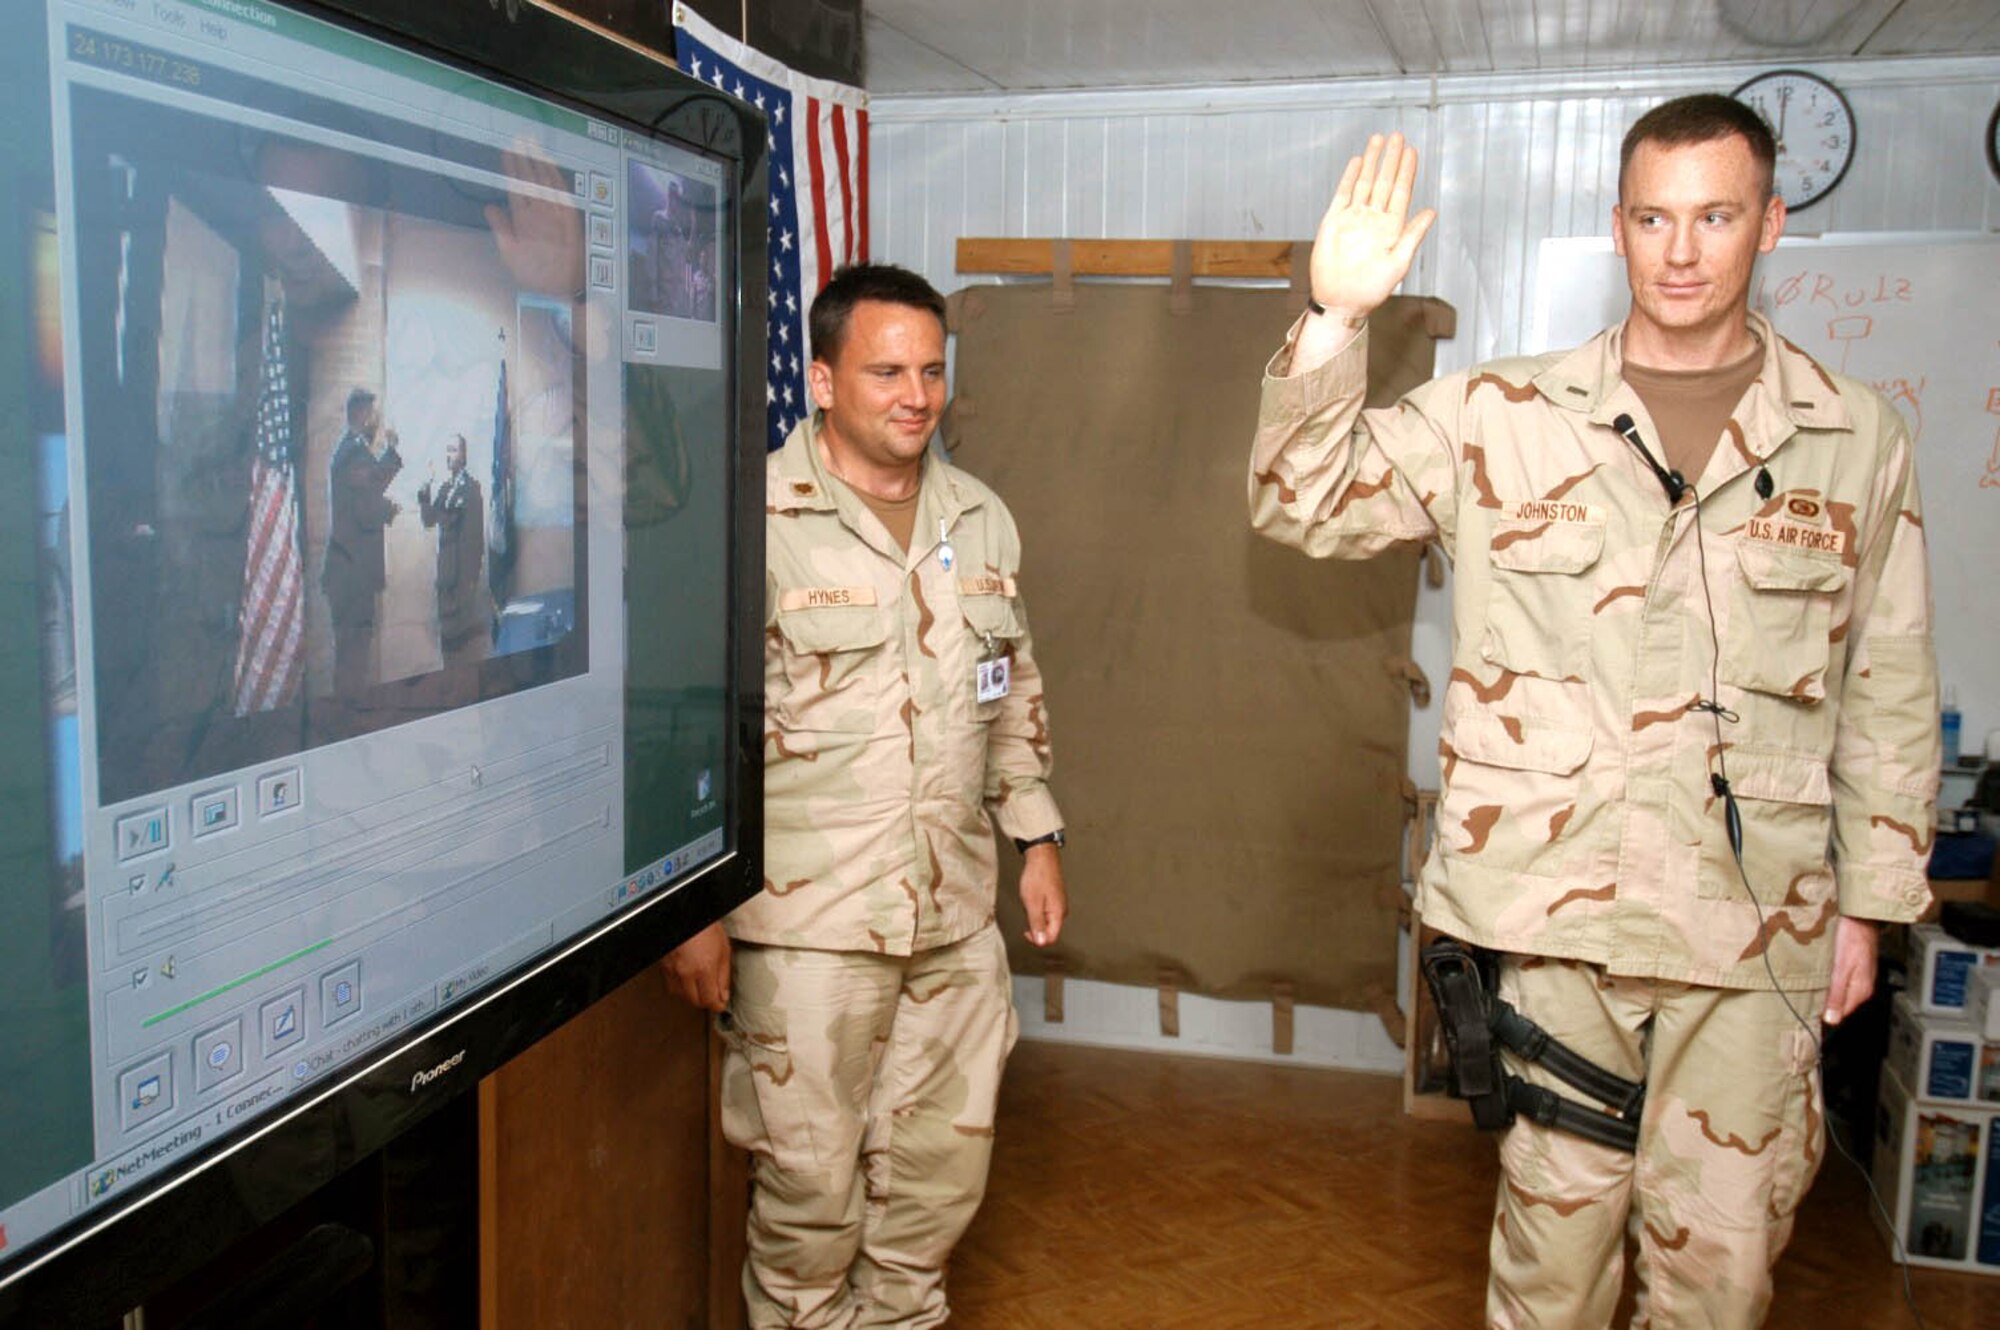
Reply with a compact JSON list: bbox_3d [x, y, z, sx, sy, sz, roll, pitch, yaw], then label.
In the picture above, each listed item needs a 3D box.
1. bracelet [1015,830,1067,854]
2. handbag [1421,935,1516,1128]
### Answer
[{"bbox_3d":[0.088,0.368,3.225,0.067,0.029,0.070,-13,-2,11],"label":"bracelet"},{"bbox_3d":[0.832,0.644,2.708,0.115,0.377,0.178,-4,2,10],"label":"handbag"}]
